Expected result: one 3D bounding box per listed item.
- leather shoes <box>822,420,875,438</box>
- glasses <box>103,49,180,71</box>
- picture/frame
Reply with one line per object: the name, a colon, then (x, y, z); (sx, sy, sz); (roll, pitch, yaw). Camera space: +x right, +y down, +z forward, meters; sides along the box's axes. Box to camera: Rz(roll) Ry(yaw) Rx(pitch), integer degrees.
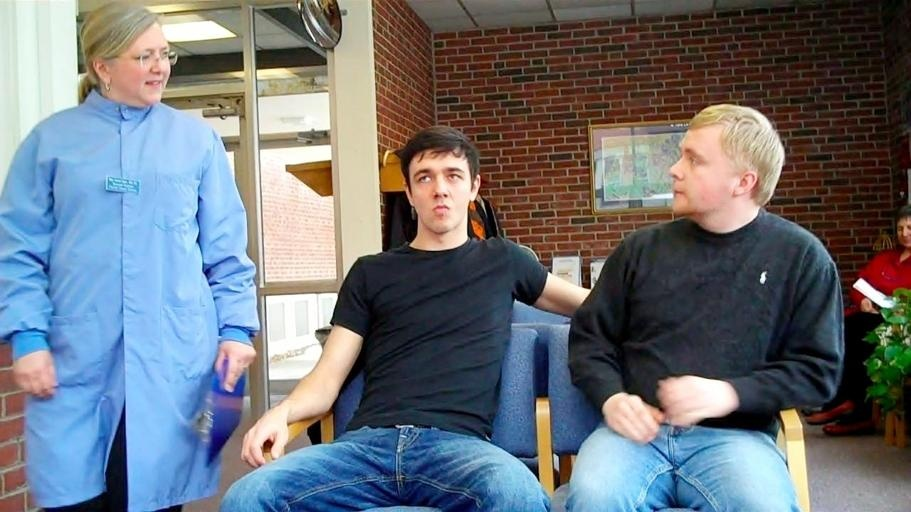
leather shoes: (3.002, 1.311, 5.350); (0.429, 0.147, 0.131); (3, -4, 2)
glasses: (-1.289, -0.807, 2.829); (0.182, 0.047, 0.164); (0, 9, 19)
picture/frame: (1.950, -0.919, 7.258); (1.487, 0.929, 0.036); (-9, 12, -30)
